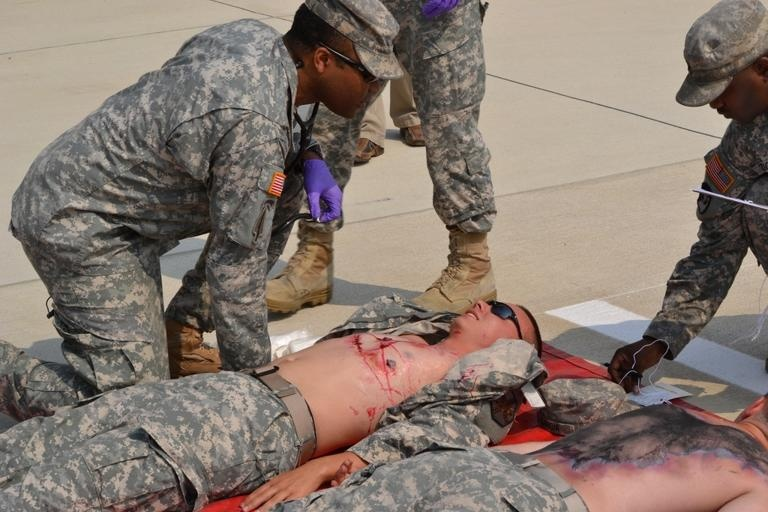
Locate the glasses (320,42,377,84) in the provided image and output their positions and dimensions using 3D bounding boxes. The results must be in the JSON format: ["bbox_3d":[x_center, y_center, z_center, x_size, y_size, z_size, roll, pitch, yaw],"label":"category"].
[{"bbox_3d":[-0.168,-0.945,4.953,0.215,0.055,0.199,29,3,-21],"label":"glasses"}]

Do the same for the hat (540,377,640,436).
[{"bbox_3d":[1.063,0.769,5.213,0.468,0.113,0.283,-9,16,6],"label":"hat"}]

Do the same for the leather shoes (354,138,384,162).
[{"bbox_3d":[-0.141,-0.858,8.315,0.151,0.152,0.376,16,24,28],"label":"leather shoes"}]

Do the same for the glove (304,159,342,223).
[{"bbox_3d":[-0.372,-0.348,5.461,0.299,0.302,0.094,-8,-1,-38],"label":"glove"}]

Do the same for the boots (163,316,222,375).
[{"bbox_3d":[-1.062,0.485,5.491,0.253,0.370,0.171,-23,38,-21],"label":"boots"}]
